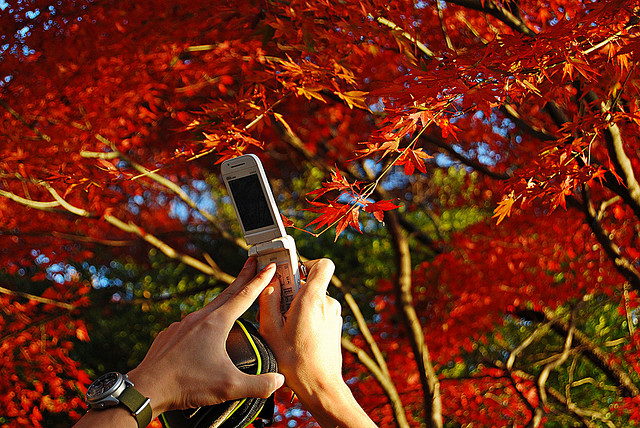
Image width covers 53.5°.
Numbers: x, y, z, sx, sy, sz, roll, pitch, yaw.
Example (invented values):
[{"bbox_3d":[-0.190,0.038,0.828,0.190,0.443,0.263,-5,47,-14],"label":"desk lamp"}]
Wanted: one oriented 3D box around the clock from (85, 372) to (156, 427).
[{"bbox_3d":[-1.591,1.470,5.009,0.528,0.421,0.214,1,21,22],"label":"clock"}]
